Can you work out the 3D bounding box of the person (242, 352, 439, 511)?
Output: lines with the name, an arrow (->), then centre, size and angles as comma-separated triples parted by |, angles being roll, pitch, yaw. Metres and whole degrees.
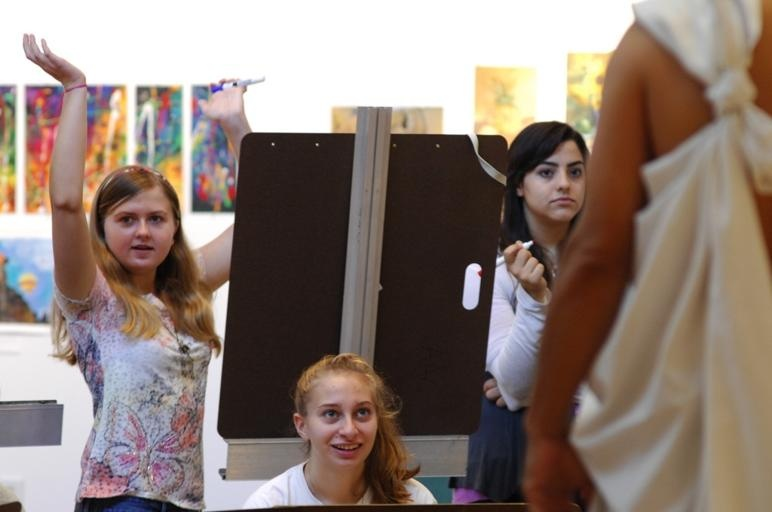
person -> -0.217, 0.648, 3.799 | 0.824, 0.798, 0.466 | 0, -16, -12
